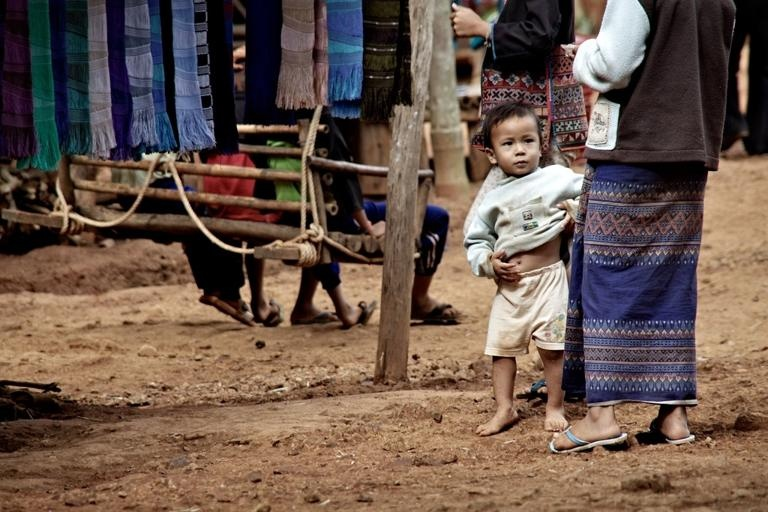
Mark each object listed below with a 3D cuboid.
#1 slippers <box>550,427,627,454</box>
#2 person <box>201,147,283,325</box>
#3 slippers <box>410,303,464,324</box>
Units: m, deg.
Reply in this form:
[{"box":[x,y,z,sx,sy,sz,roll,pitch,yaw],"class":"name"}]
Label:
[{"box":[1.254,1.160,8.935,0.353,0.089,0.201,-3,3,17],"class":"slippers"},{"box":[-1.105,-0.099,11.446,0.617,1.448,1.207,-1,6,-5],"class":"person"},{"box":[0.439,0.472,11.922,0.435,0.147,0.166,-2,3,-1],"class":"slippers"}]
